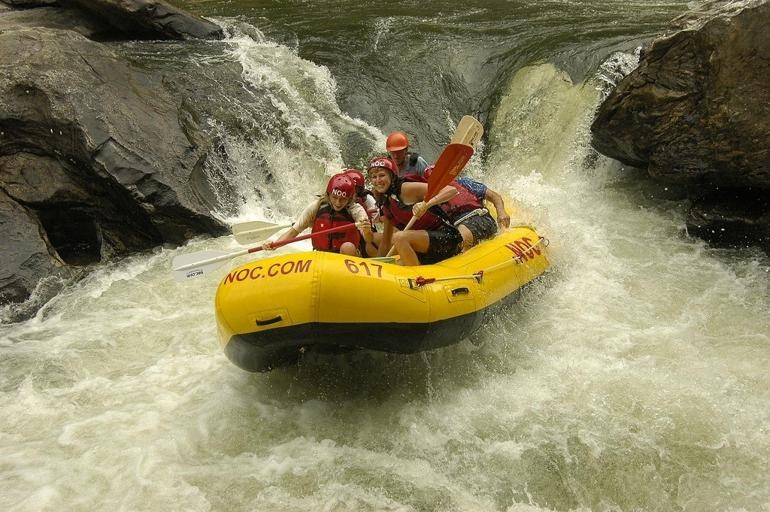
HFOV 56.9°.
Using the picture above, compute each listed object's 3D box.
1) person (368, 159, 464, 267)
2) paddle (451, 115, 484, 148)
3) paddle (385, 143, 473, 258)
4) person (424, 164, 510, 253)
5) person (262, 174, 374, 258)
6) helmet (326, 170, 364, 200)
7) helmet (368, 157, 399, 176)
[{"bbox_3d":[0.361,-0.454,8.063,0.828,0.587,0.978,16,23,-16],"label":"person"},{"bbox_3d":[0.935,-1.425,8.108,0.351,0.337,0.208,-3,36,-11],"label":"paddle"},{"bbox_3d":[0.500,-0.587,8.164,0.343,1.744,0.187,39,2,-5],"label":"paddle"},{"bbox_3d":[0.956,-0.525,8.407,0.616,0.696,1.092,21,8,-22],"label":"person"},{"bbox_3d":[-0.832,-0.456,8.612,0.946,1.070,0.633,18,55,-19],"label":"person"},{"bbox_3d":[-0.445,-0.811,8.083,0.274,0.151,0.438,16,28,3],"label":"helmet"},{"bbox_3d":[-0.025,-1.041,8.059,0.322,0.183,0.277,-1,34,-7],"label":"helmet"}]
